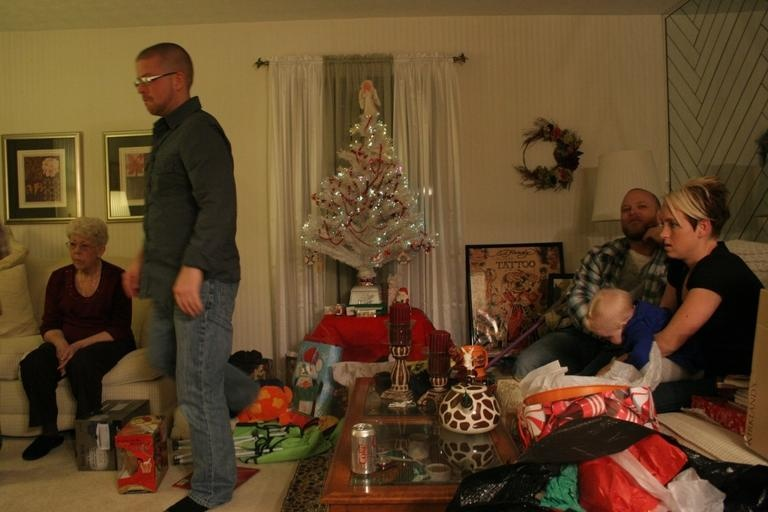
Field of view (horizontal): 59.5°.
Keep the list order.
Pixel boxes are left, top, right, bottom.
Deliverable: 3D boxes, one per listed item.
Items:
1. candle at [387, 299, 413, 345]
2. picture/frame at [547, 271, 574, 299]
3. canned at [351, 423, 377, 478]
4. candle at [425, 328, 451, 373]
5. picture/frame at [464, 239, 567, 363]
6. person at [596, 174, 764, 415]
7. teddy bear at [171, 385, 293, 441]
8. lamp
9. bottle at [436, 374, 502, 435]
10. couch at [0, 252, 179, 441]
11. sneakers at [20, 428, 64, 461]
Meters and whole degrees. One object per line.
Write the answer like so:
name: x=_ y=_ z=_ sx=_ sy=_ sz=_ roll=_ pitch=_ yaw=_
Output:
candle: x=0.086 y=0.381 z=3.753 sx=0.128 sy=0.234 sz=0.155 roll=-2 pitch=5 yaw=0
picture/frame: x=1.303 y=0.231 z=5.014 sx=0.175 sy=0.148 sz=0.024 roll=-21 pitch=-26 yaw=22
canned: x=-0.106 y=0.930 z=3.238 sx=0.132 sy=0.228 sz=0.122 roll=-1 pitch=6 yaw=6
candle: x=0.305 y=0.540 z=3.721 sx=0.133 sy=0.244 sz=0.088 roll=-2 pitch=6 yaw=-2
picture/frame: x=1.015 y=0.384 z=5.224 sx=0.993 sy=1.054 sz=0.073 roll=2 pitch=-17 yaw=-1
person: x=1.704 y=0.158 z=4.494 sx=1.241 sy=1.623 sz=1.197 roll=1 pitch=7 yaw=22
teddy bear: x=-0.943 y=0.989 z=4.376 sx=0.523 sy=0.152 sz=0.439 roll=0 pitch=5 yaw=11
lamp: x=1.780 y=-0.520 z=5.020 sx=0.543 sy=0.415 sz=0.504 roll=0 pitch=2 yaw=20
bottle: x=0.426 y=0.762 z=3.423 sx=0.219 sy=0.189 sz=0.292 roll=3 pitch=3 yaw=18
couch: x=-2.070 y=0.617 z=4.788 sx=1.105 sy=0.675 sz=1.018 roll=-1 pitch=6 yaw=-6
sneakers: x=-2.186 y=1.214 z=4.341 sx=0.146 sy=0.131 sz=0.277 roll=-1 pitch=5 yaw=9
